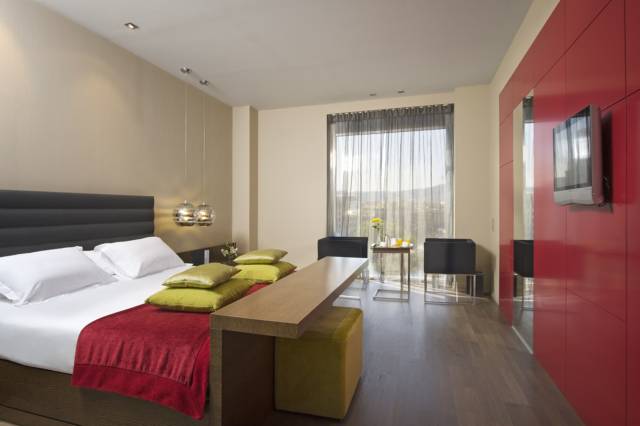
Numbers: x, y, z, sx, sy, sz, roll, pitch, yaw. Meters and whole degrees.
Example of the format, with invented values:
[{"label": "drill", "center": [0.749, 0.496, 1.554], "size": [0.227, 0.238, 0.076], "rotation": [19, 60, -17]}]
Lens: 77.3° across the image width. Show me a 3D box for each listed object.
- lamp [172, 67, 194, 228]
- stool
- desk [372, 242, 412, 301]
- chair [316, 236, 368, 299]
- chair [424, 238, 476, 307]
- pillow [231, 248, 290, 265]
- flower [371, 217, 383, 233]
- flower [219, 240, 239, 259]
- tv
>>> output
[{"label": "lamp", "center": [-1.909, -0.647, 5.569], "size": [0.270, 1.558, 0.295], "rotation": [1, -11, -41]}, {"label": "stool", "center": [0.029, 1.245, 3.527], "size": [0.657, 0.622, 0.943], "rotation": [-2, -3, 18]}, {"label": "desk", "center": [1.072, 0.885, 6.283], "size": [0.588, 0.753, 0.759], "rotation": [-1, -3, 4]}, {"label": "chair", "center": [0.319, 0.818, 6.374], "size": [0.838, 1.120, 0.768], "rotation": [-1, -3, 14]}, {"label": "chair", "center": [1.925, 0.785, 5.971], "size": [0.976, 1.086, 0.802], "rotation": [0, 1, 26]}, {"label": "pillow", "center": [-0.822, 0.564, 5.252], "size": [0.340, 0.123, 0.405], "rotation": [-4, -1, 14]}, {"label": "flower", "center": [0.973, 0.201, 6.701], "size": [0.209, 0.230, 0.225], "rotation": [-1, 1, 0]}, {"label": "flower", "center": [-1.519, 0.617, 6.684], "size": [0.268, 0.217, 0.282], "rotation": [0, -2, -12]}, {"label": "tv", "center": [2.051, -0.439, 3.267], "size": [0.551, 0.719, 0.095], "rotation": [-9, 12, -14]}]
